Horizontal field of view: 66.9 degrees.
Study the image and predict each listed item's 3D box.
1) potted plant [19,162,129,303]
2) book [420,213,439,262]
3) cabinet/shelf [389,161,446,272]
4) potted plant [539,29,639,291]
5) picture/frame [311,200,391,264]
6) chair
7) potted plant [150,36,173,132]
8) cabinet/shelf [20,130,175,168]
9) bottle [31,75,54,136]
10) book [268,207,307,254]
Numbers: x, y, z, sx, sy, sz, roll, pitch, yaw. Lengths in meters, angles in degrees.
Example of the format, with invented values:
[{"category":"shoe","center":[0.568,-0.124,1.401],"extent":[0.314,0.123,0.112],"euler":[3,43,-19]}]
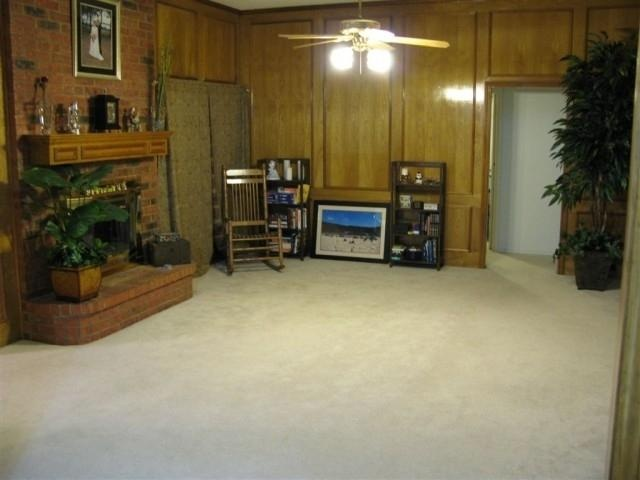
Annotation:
[{"category":"potted plant","center":[-2.476,-0.070,5.056],"extent":[1.157,1.423,1.274],"euler":[1,0,13]},{"category":"book","center":[1.674,-0.006,7.399],"extent":[0.246,0.806,0.191],"euler":[2,12,12]},{"category":"cabinet/shelf","center":[1.496,-0.404,7.518],"extent":[0.878,1.612,0.677],"euler":[3,13,13]},{"category":"potted plant","center":[3.612,-1.065,6.472],"extent":[1.016,3.378,1.077],"euler":[6,14,26]},{"category":"picture/frame","center":[0.541,-0.109,7.860],"extent":[1.001,0.792,0.042],"euler":[3,-7,16]},{"category":"chair","center":[-1.098,-0.391,7.770],"extent":[0.930,1.530,1.475],"euler":[-2,12,-10]},{"category":"potted plant","center":[-2.050,-1.990,6.236],"extent":[0.285,1.121,0.697],"euler":[-2,12,-7]},{"category":"cabinet/shelf","center":[-2.310,-1.056,5.443],"extent":[0.294,0.305,1.750],"euler":[19,20,30]},{"category":"bottle","center":[-2.722,-1.345,4.779],"extent":[0.157,0.553,0.286],"euler":[1,12,5]},{"category":"book","center":[-0.526,-0.128,7.879],"extent":[0.761,0.863,0.285],"euler":[1,1,31]}]
